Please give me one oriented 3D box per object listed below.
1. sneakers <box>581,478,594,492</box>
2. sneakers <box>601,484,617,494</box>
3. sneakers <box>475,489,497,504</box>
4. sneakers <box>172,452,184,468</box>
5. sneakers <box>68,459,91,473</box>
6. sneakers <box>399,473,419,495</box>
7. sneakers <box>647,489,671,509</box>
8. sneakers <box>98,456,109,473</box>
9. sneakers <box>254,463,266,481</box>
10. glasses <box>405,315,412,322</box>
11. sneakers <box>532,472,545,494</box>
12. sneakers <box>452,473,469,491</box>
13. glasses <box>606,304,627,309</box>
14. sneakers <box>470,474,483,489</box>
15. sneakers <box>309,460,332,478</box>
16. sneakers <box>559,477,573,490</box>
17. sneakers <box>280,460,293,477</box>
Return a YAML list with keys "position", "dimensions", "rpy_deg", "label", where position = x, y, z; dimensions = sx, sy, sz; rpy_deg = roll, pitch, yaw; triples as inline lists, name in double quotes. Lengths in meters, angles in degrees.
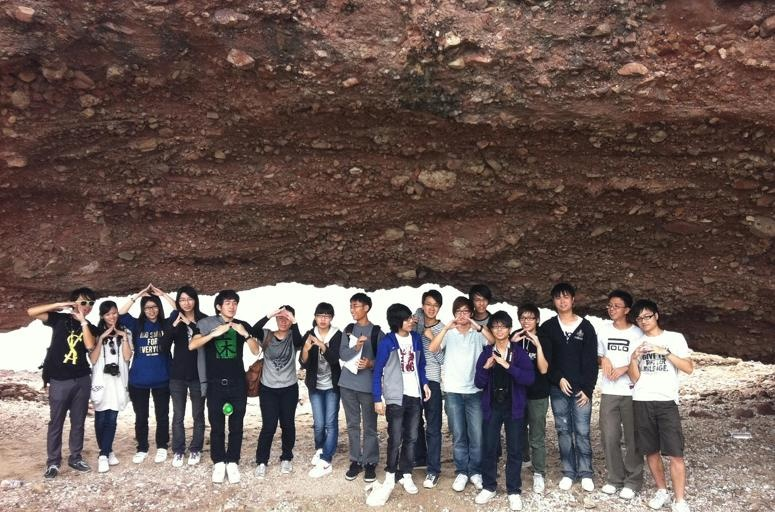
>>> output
- position: [2.640, 3.034, 8.607]
  dimensions: [0.181, 0.136, 0.152]
  rpy_deg: [2, 12, 11]
  label: "sneakers"
- position: [2.882, 3.076, 8.532]
  dimensions: [0.195, 0.070, 0.097]
  rpy_deg: [8, -12, 14]
  label: "sneakers"
- position: [1.227, 3.140, 8.445]
  dimensions: [0.304, 0.113, 0.122]
  rpy_deg: [-13, -6, -31]
  label: "sneakers"
- position: [-2.925, 2.888, 9.112]
  dimensions: [0.099, 0.083, 0.226]
  rpy_deg: [6, 1, -12]
  label: "sneakers"
- position: [-4.210, 2.907, 8.940]
  dimensions: [0.318, 0.109, 0.135]
  rpy_deg: [2, 9, 12]
  label: "sneakers"
- position: [0.280, 3.034, 8.570]
  dimensions: [0.139, 0.135, 0.347]
  rpy_deg: [1, -11, -24]
  label: "sneakers"
- position: [3.467, 3.108, 8.341]
  dimensions: [0.247, 0.242, 0.249]
  rpy_deg: [4, 12, 21]
  label: "sneakers"
- position: [-3.905, 2.894, 8.986]
  dimensions: [0.135, 0.232, 0.102]
  rpy_deg: [-5, -39, -35]
  label: "sneakers"
- position: [-1.735, 2.982, 8.897]
  dimensions: [0.124, 0.176, 0.073]
  rpy_deg: [10, -17, -9]
  label: "sneakers"
- position: [0.263, 0.836, 8.549]
  dimensions: [0.089, 0.043, 0.113]
  rpy_deg: [0, -12, 1]
  label: "glasses"
- position: [1.979, 3.025, 8.581]
  dimensions: [0.117, 0.115, 0.295]
  rpy_deg: [-11, 6, 17]
  label: "sneakers"
- position: [0.936, 3.018, 8.581]
  dimensions: [0.131, 0.100, 0.283]
  rpy_deg: [-4, -7, 18]
  label: "sneakers"
- position: [3.036, 0.673, 8.610]
  dimensions: [0.255, 0.073, 0.117]
  rpy_deg: [4, 12, 20]
  label: "glasses"
- position: [1.170, 3.001, 8.583]
  dimensions: [0.121, 0.180, 0.190]
  rpy_deg: [-2, 12, -7]
  label: "sneakers"
- position: [-0.922, 2.963, 8.998]
  dimensions: [0.376, 0.146, 0.144]
  rpy_deg: [2, 9, -36]
  label: "sneakers"
- position: [2.352, 3.029, 8.630]
  dimensions: [0.190, 0.131, 0.172]
  rpy_deg: [2, 11, 10]
  label: "sneakers"
- position: [-1.399, 2.949, 9.014]
  dimensions: [0.150, 0.175, 0.069]
  rpy_deg: [4, -8, 1]
  label: "sneakers"
